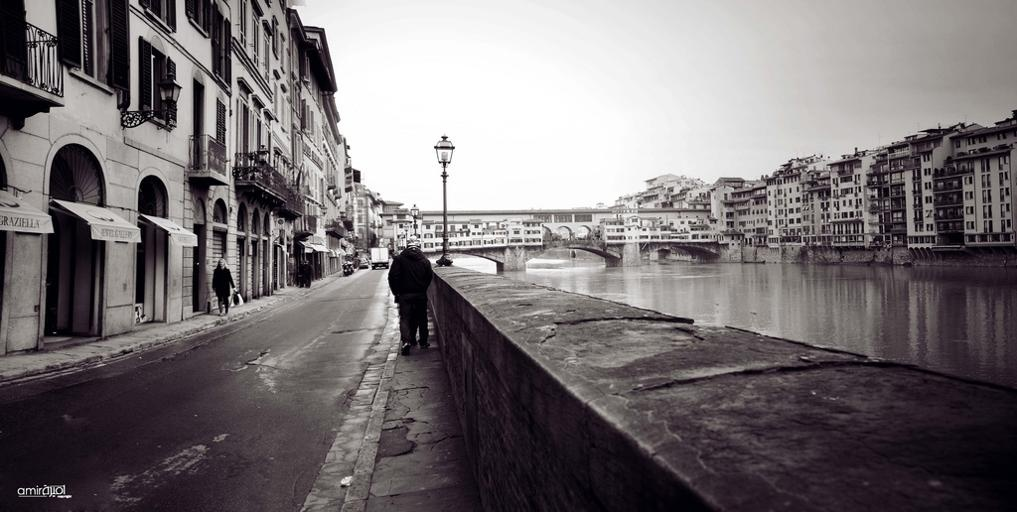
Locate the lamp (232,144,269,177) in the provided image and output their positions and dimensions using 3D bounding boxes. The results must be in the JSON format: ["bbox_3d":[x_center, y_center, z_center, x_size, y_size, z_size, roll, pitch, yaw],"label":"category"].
[{"bbox_3d":[-15.024,-5.455,40.928,2.762,2.172,0.834,-1,-9,-13],"label":"lamp"}]

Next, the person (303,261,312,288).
[{"bbox_3d":[-14.676,1.401,51.583,0.381,1.780,0.699,8,-3,5],"label":"person"}]

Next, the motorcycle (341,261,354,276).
[{"bbox_3d":[-18.031,1.397,79.093,1.237,1.462,1.480,-7,-10,27],"label":"motorcycle"}]

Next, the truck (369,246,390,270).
[{"bbox_3d":[-17.365,0.295,94.963,2.554,2.386,4.295,0,1,-8],"label":"truck"}]
